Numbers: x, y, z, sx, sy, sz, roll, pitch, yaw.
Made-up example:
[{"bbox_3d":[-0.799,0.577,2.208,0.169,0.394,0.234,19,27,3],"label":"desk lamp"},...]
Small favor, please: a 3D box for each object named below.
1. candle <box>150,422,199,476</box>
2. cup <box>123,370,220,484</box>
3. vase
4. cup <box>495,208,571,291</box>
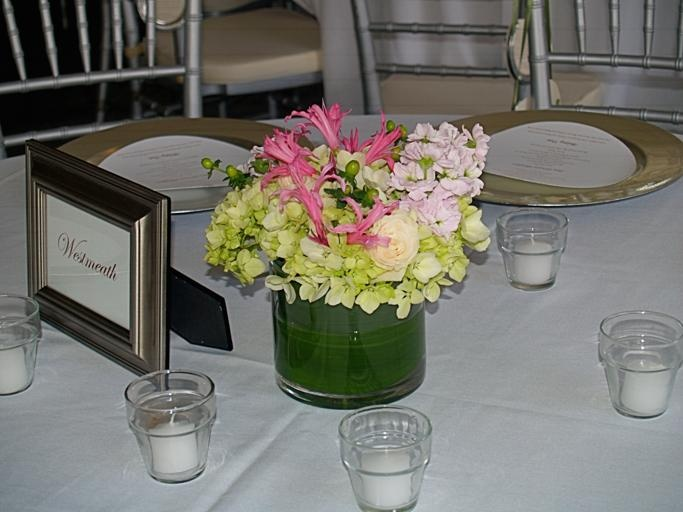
[{"bbox_3d":[-0.137,0.164,0.491,0.037,0.040,0.041,0,9,-2],"label":"candle"},{"bbox_3d":[-0.139,0.144,0.523,0.082,0.088,0.090,0,8,0],"label":"cup"},{"bbox_3d":[0.017,0.075,0.617,0.159,0.128,0.168,-5,7,11],"label":"vase"},{"bbox_3d":[0.261,0.003,0.796,0.091,0.087,0.100,-8,3,0],"label":"cup"}]
